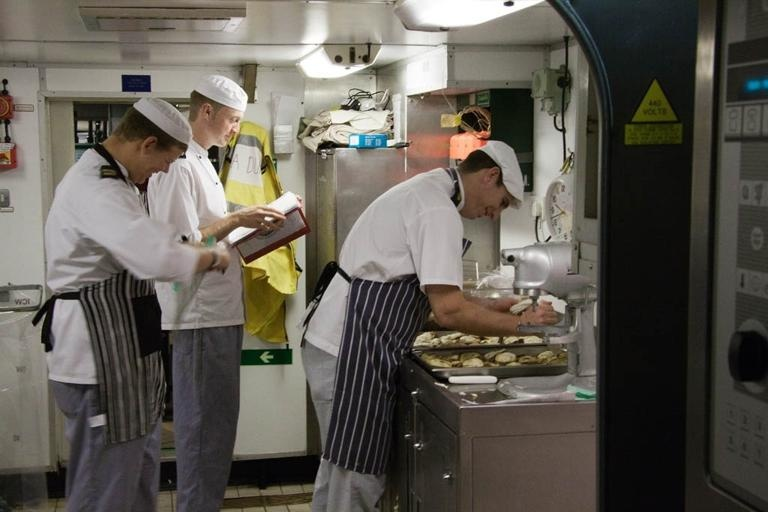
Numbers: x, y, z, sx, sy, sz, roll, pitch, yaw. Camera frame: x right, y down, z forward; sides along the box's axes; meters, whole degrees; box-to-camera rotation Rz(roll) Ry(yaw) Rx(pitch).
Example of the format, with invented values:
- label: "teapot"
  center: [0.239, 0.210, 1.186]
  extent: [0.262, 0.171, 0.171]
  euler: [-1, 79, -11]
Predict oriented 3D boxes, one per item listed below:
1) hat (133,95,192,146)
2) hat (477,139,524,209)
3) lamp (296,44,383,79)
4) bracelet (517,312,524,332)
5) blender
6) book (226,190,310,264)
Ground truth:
- label: "hat"
  center: [-0.809, -0.517, 2.449]
  extent: [0.059, 0.194, 0.186]
  euler: [-44, 20, 6]
- label: "hat"
  center: [0.459, -0.319, 2.562]
  extent: [0.151, 0.261, 0.164]
  euler: [-3, 6, 8]
- label: "lamp"
  center: [-0.289, -1.156, 3.929]
  extent: [0.240, 0.088, 0.335]
  euler: [-3, 2, -19]
- label: "bracelet"
  center: [0.489, 0.241, 2.352]
  extent: [0.016, 0.054, 0.041]
  euler: [2, 4, 5]
- label: "blender"
  center: [0.570, 0.217, 2.329]
  extent: [0.352, 0.535, 0.333]
  euler: [-4, 6, 6]
- label: "book"
  center: [-0.525, -0.098, 3.060]
  extent: [0.342, 0.120, 0.349]
  euler: [-28, 12, 22]
